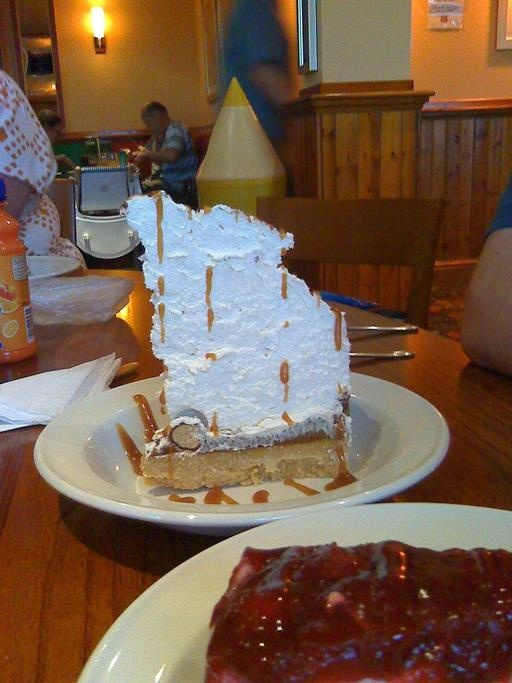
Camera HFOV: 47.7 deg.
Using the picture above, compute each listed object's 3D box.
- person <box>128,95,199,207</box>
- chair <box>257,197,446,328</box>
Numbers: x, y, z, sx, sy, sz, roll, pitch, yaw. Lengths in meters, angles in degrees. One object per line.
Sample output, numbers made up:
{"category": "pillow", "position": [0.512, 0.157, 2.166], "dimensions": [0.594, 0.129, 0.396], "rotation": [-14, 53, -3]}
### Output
{"category": "person", "position": [-0.811, -1.633, 5.144], "dimensions": [0.562, 0.896, 0.871], "rotation": [-12, 3, -2]}
{"category": "chair", "position": [0.280, -0.209, 1.629], "dimensions": [0.355, 0.562, 0.406], "rotation": [7, 11, 32]}
